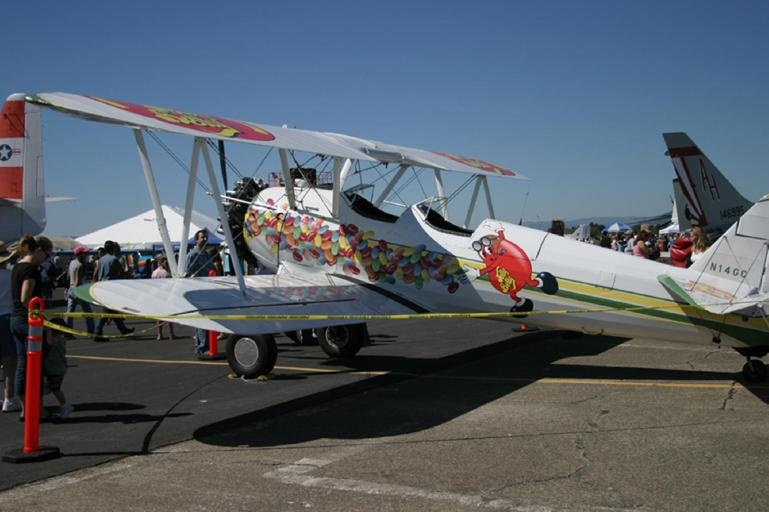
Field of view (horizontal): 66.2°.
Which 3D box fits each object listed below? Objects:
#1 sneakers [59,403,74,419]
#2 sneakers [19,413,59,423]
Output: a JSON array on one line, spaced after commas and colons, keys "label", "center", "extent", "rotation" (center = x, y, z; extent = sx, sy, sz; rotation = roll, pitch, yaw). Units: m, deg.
[{"label": "sneakers", "center": [-4.026, 1.954, 7.449], "extent": [0.132, 0.090, 0.221], "rotation": [-7, 16, -3]}, {"label": "sneakers", "center": [-4.311, 2.016, 7.362], "extent": [0.482, 0.073, 0.197], "rotation": [-2, 6, -16]}]
